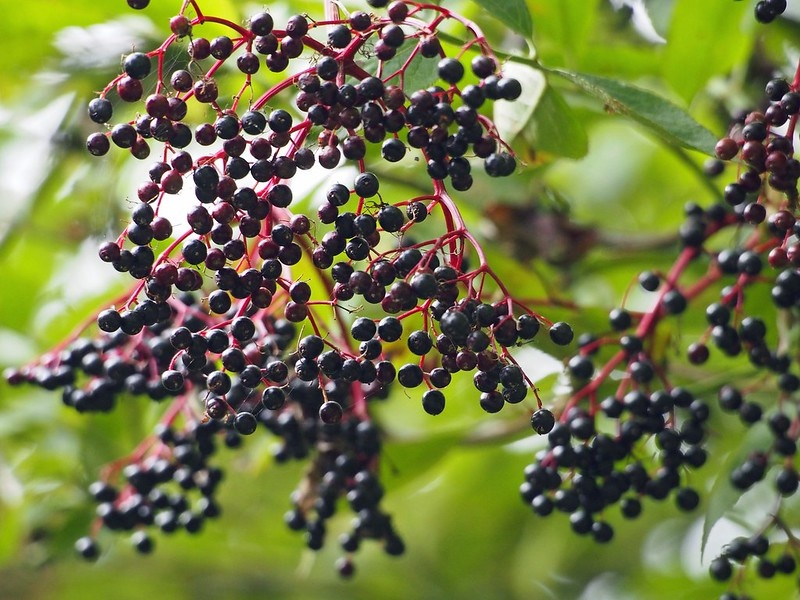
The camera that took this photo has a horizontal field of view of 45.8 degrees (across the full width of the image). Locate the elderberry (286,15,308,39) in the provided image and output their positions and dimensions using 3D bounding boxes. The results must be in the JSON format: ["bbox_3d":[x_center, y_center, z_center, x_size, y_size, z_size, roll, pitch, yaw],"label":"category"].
[{"bbox_3d":[-0.190,-0.495,1.733,0.036,0.039,0.043,11,92,14],"label":"elderberry"}]

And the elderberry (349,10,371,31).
[{"bbox_3d":[-0.074,-0.508,1.744,0.033,0.018,0.034,29,74,4],"label":"elderberry"}]

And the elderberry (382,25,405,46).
[{"bbox_3d":[-0.014,-0.476,1.720,0.035,0.037,0.043,2,95,15],"label":"elderberry"}]

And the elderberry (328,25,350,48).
[{"bbox_3d":[-0.110,-0.478,1.737,0.038,0.039,0.047,11,101,9],"label":"elderberry"}]

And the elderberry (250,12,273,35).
[{"bbox_3d":[-0.254,-0.501,1.735,0.039,0.047,0.041,5,110,-6],"label":"elderberry"}]
